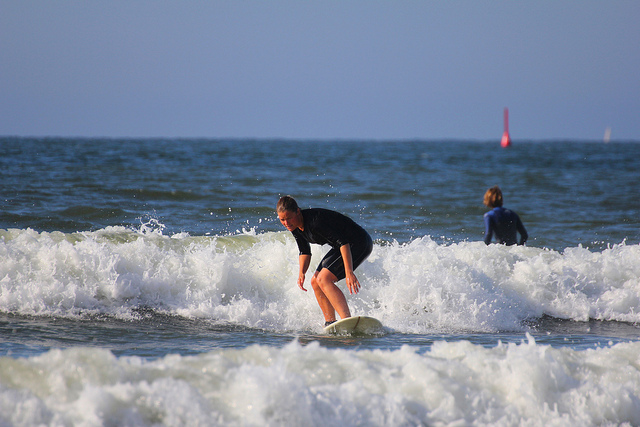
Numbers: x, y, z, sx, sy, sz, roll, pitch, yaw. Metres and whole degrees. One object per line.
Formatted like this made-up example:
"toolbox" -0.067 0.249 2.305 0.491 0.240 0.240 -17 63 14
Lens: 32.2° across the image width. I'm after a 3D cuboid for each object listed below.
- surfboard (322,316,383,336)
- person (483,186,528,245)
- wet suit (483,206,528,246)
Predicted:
"surfboard" 0.681 2.308 22.684 1.148 0.400 0.286 0 4 -2
"person" 4.102 0.069 24.958 1.010 1.334 0.329 -2 4 -24
"wet suit" 4.284 0.350 25.713 0.717 1.549 0.538 -11 13 -24
